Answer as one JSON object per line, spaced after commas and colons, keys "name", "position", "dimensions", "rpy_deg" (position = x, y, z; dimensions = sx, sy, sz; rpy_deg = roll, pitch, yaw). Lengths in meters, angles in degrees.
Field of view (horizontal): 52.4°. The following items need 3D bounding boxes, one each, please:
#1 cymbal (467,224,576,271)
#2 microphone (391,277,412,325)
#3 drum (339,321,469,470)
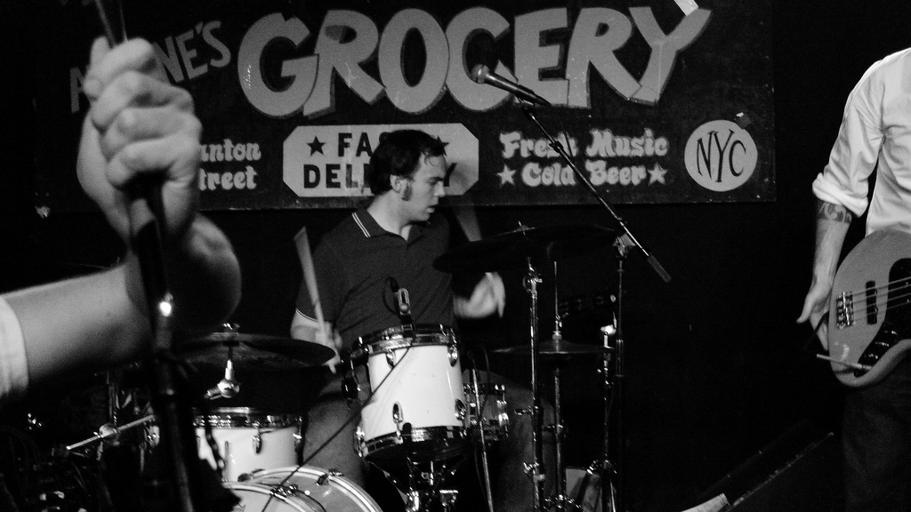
{"name": "cymbal", "position": [0.388, -0.044, 5.226], "dimensions": [0.594, 0.237, 0.401], "rpy_deg": [-4, 0, 2]}
{"name": "microphone", "position": [-0.273, 0.231, 4.885], "dimensions": [0.065, 0.178, 0.383], "rpy_deg": [-23, 5, -1]}
{"name": "drum", "position": [-0.253, 0.675, 4.820], "dimensions": [0.684, 0.649, 0.704], "rpy_deg": [-24, -31, 29]}
